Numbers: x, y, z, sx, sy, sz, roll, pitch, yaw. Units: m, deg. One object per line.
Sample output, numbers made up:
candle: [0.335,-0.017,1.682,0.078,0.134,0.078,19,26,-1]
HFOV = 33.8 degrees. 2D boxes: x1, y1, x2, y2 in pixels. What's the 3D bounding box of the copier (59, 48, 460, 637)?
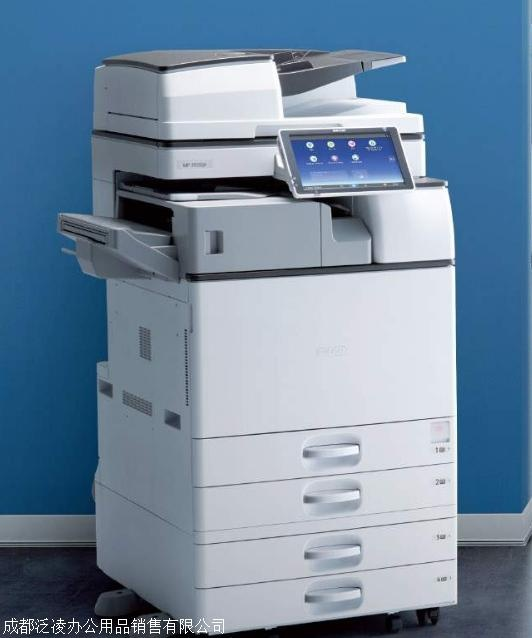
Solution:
copier: [-0.010,0.068,2.077,0.941,1.446,0.544,-1,7,-6]
